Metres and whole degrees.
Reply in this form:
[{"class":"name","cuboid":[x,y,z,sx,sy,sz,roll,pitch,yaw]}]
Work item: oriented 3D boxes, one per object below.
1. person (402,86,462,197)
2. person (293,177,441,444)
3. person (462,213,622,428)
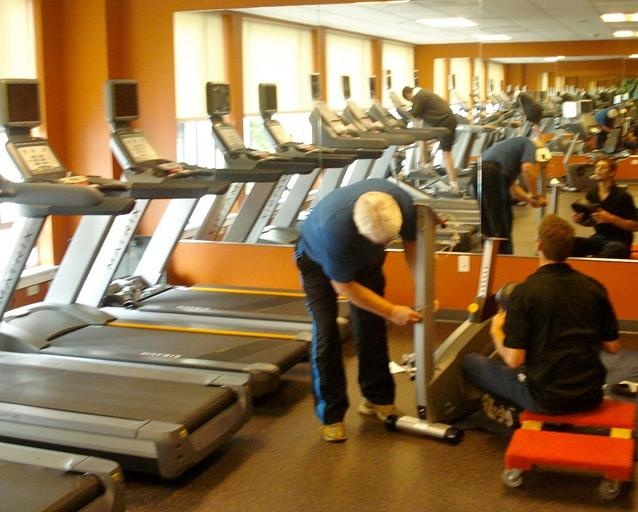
[{"class":"person","cuboid":[0.986,-1.004,4.596,0.472,0.892,0.130,7,20,35]},{"class":"person","cuboid":[0.221,0.315,2.760,0.612,1.419,0.615,-6,16,-5]},{"class":"person","cuboid":[1.050,0.291,2.696,0.843,0.934,0.748,14,26,36]}]
